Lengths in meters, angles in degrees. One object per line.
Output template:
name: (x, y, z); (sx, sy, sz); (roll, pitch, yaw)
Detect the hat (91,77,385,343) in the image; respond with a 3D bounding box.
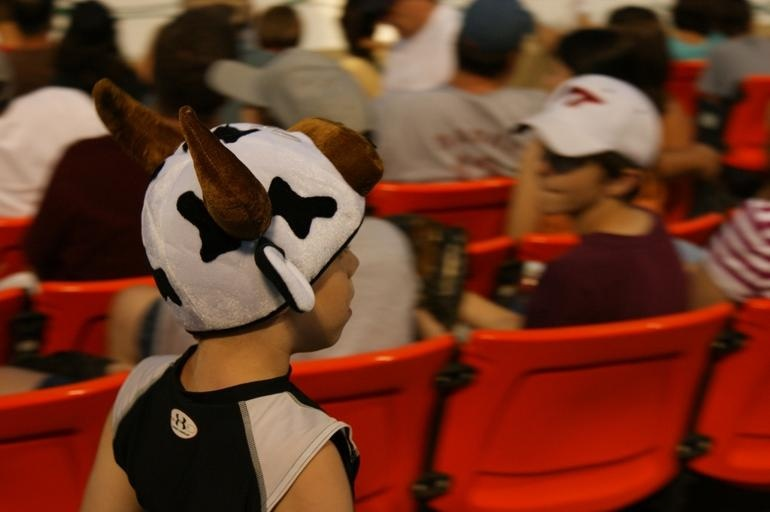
hat: (-0.249, -0.081, 1.952); (0.586, 0.502, 0.548); (-36, 39, -16)

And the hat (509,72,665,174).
hat: (0.591, -0.383, 2.475); (0.343, 0.168, 0.256); (18, 13, -20)
